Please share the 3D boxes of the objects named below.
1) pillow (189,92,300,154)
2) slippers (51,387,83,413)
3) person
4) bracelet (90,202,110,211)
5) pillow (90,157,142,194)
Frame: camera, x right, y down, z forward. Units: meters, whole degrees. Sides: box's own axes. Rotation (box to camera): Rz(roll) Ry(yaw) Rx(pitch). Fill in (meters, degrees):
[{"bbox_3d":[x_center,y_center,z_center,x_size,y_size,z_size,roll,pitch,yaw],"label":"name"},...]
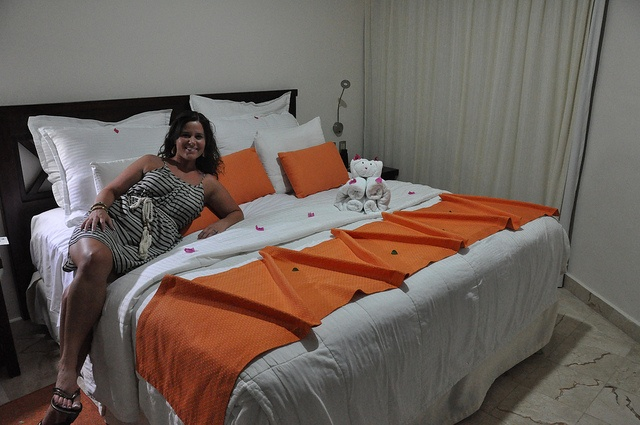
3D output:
[{"bbox_3d":[-0.696,-0.787,3.594,0.706,0.326,0.337,-19,46,-38],"label":"pillow"},{"bbox_3d":[-1.420,1.019,2.277,0.164,0.072,0.294,14,2,-31],"label":"slippers"},{"bbox_3d":[-1.098,-0.002,2.713,0.832,0.975,2.173,15,36,2],"label":"person"},{"bbox_3d":[-1.368,-0.038,2.510,0.068,0.031,0.064,-18,32,-40],"label":"bracelet"},{"bbox_3d":[-1.435,-0.279,2.836,0.270,0.105,0.274,-9,53,-33],"label":"pillow"}]
